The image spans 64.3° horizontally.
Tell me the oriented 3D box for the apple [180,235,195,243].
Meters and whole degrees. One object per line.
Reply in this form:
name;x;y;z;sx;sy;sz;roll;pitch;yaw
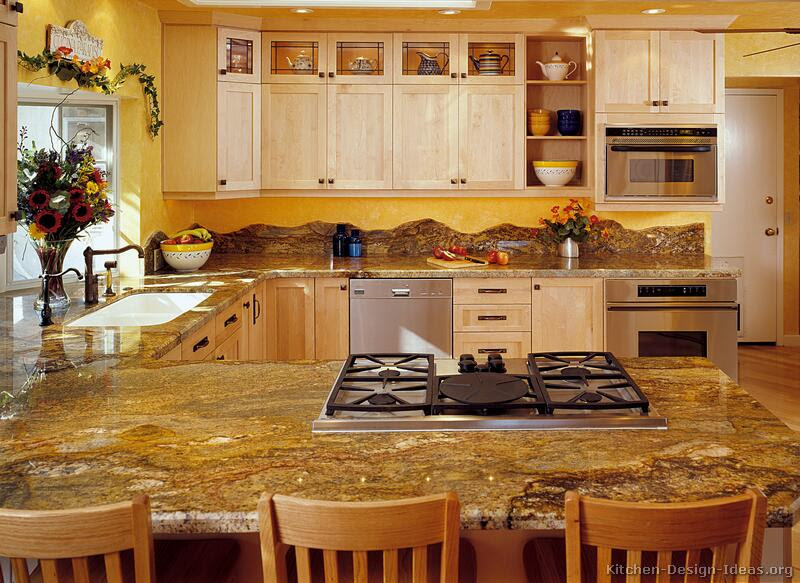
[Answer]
apple;-1.500;-0.367;4.449;0.078;0.035;0.073;1;9;2

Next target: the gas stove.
gas stove;0.253;0.291;1.992;0.977;0.134;0.560;0;5;0

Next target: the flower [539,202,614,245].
flower;1.394;-0.562;5.063;0.549;0.358;0.445;1;5;13

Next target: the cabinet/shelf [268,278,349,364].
cabinet/shelf;-0.622;0.174;4.407;0.859;0.549;0.359;0;1;-1

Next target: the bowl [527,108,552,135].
bowl;1.112;-1.301;4.904;0.254;0.144;0.218;-3;7;-31

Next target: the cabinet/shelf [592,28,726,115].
cabinet/shelf;1.907;-1.593;4.849;1.363;0.612;0.633;0;2;3

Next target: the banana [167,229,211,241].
banana;-1.498;-0.407;4.535;0.199;0.045;0.140;-3;-1;4

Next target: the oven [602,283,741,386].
oven;1.822;0.274;4.703;1.082;0.682;0.634;0;-3;-14

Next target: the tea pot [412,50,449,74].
tea pot;0.233;-1.720;4.862;0.323;0.204;0.177;0;4;-11

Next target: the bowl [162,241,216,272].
bowl;-1.501;-0.244;4.472;0.261;0.200;0.240;0;5;0

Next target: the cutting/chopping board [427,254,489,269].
cutting/chopping board;0.432;-0.215;4.716;0.424;0.069;0.482;-1;5;-13

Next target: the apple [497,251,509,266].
apple;0.758;-0.243;4.671;0.081;0.096;0.074;0;5;-2

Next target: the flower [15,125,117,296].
flower;-1.630;-0.332;3.124;0.421;0.781;0.286;-3;6;-25

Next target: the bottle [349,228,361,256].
bottle;-0.360;-0.389;5.156;0.114;0.230;0.230;-1;5;-3

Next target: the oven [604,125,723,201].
oven;1.952;-0.932;4.822;1.089;0.493;0.593;1;3;5

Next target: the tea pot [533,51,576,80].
tea pot;1.280;-1.731;4.947;0.454;0.214;0.235;1;6;5

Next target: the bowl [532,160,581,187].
bowl;1.207;-0.911;4.838;0.323;0.126;0.267;-1;6;-13

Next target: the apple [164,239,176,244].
apple;-1.617;-0.351;4.467;0.083;0.026;0.064;-2;6;-12

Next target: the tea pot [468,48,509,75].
tea pot;0.683;-1.731;4.843;0.299;0.232;0.199;0;5;5

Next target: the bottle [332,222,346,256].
bottle;-0.489;-0.420;5.189;0.119;0.266;0.166;-1;5;-5

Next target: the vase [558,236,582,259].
vase;1.333;-0.340;4.953;0.140;0.168;0.160;1;5;11

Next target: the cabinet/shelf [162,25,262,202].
cabinet/shelf;-1.381;-1.299;4.633;0.716;1.210;0.161;-2;5;-14

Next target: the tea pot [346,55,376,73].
tea pot;-0.284;-1.722;4.864;0.269;0.126;0.164;0;2;-3

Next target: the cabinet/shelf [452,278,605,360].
cabinet/shelf;0.912;0.151;4.702;1.345;0.571;0.628;0;1;2
